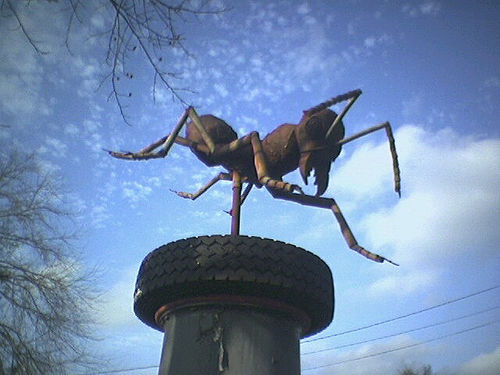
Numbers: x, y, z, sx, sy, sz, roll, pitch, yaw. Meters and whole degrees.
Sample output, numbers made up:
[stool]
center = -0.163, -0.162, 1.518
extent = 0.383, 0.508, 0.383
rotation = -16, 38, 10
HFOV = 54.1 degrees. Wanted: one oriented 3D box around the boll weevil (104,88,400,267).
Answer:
[boll weevil]
center = 0.191, -0.459, 9.448
extent = 4.902, 2.523, 4.425
rotation = 11, -13, 22
